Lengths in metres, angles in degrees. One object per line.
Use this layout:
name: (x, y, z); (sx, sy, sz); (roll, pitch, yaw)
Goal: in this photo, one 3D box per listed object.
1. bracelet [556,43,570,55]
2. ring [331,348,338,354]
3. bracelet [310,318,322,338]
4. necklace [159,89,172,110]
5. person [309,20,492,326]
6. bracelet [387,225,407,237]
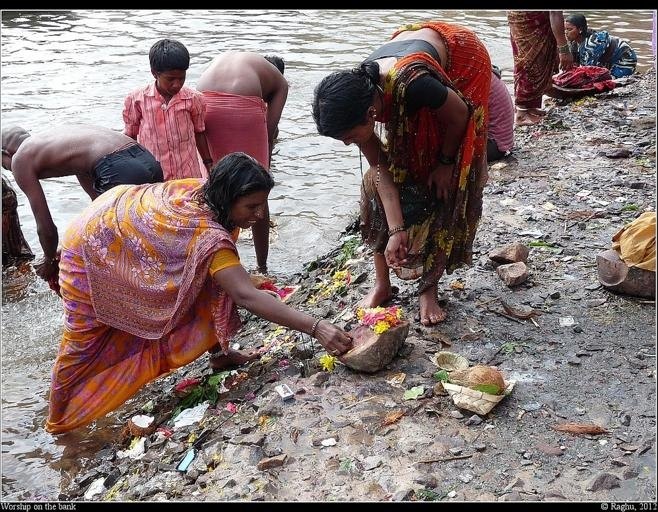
bracelet: (3.025, -2.692, 8.843); (0.172, 0.120, 0.175); (5, 28, 46)
ring: (0.042, 0.677, 4.870); (0.054, 0.047, 0.014); (6, 31, 14)
bracelet: (-0.101, 0.515, 4.892); (0.047, 0.108, 0.106); (17, 9, 6)
necklace: (-1.492, -1.402, 6.149); (0.102, 0.047, 0.125); (-5, 57, -10)
person: (0.607, -0.567, 5.052); (1.312, 2.083, 0.781); (-6, 30, -8)
bracelet: (0.514, -0.187, 5.085); (0.092, 0.034, 0.082); (-18, 1, 41)
